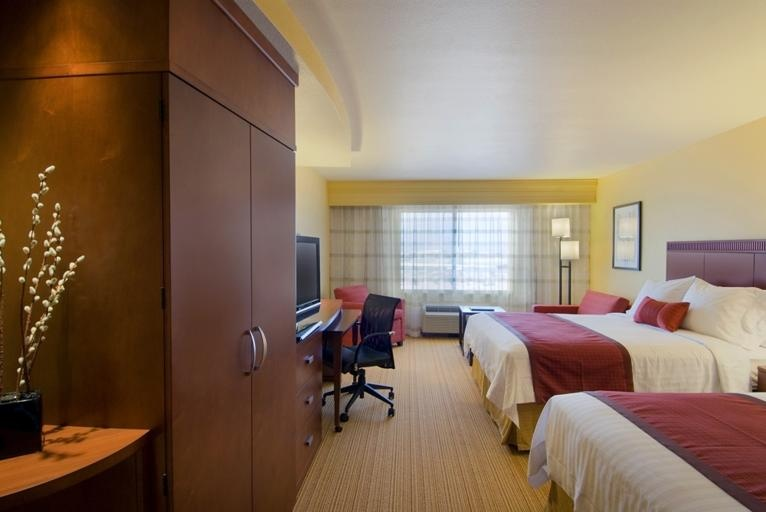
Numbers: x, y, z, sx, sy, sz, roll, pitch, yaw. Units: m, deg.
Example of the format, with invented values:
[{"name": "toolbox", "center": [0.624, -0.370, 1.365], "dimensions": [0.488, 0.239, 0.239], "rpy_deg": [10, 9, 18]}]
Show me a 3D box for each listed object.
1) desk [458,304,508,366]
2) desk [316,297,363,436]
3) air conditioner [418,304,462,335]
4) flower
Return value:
[{"name": "desk", "center": [1.321, 1.035, 7.044], "dimensions": [0.715, 0.732, 0.605], "rpy_deg": [-1, -4, 1]}, {"name": "desk", "center": [-0.404, 1.024, 4.679], "dimensions": [0.339, 0.521, 1.010], "rpy_deg": [0, 3, -1]}, {"name": "air conditioner", "center": [0.833, 0.923, 7.495], "dimensions": [0.501, 0.384, 0.390], "rpy_deg": [0, -2, 3]}, {"name": "flower", "center": [-1.614, 0.128, 2.438], "dimensions": [0.394, 1.080, 0.295], "rpy_deg": [-6, 12, -32]}]
